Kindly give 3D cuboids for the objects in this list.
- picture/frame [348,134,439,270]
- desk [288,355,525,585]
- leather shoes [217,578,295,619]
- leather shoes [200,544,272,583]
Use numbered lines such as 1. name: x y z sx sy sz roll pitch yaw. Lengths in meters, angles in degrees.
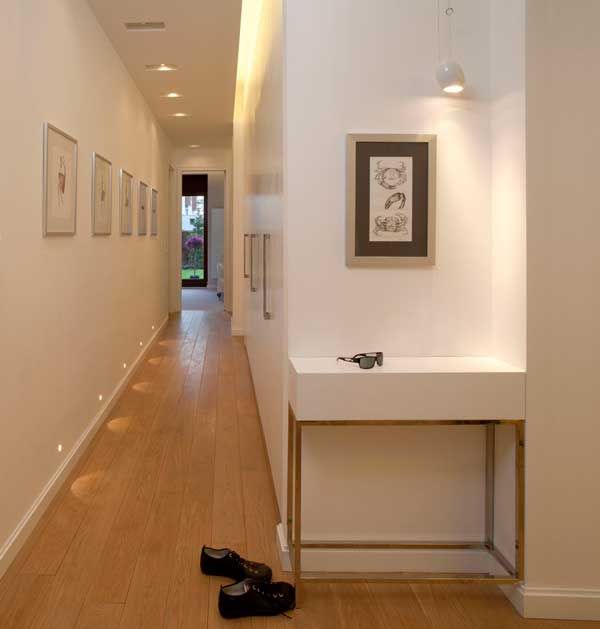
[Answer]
1. picture/frame: 0.367 -0.481 2.215 0.387 0.725 0.027 0 4 -4
2. desk: 0.388 0.605 2.129 0.739 0.844 0.501 -1 -2 9
3. leather shoes: -0.160 1.011 2.017 0.218 0.117 0.130 -2 4 -15
4. leather shoes: -0.263 1.010 2.187 0.298 0.163 0.126 5 5 1
